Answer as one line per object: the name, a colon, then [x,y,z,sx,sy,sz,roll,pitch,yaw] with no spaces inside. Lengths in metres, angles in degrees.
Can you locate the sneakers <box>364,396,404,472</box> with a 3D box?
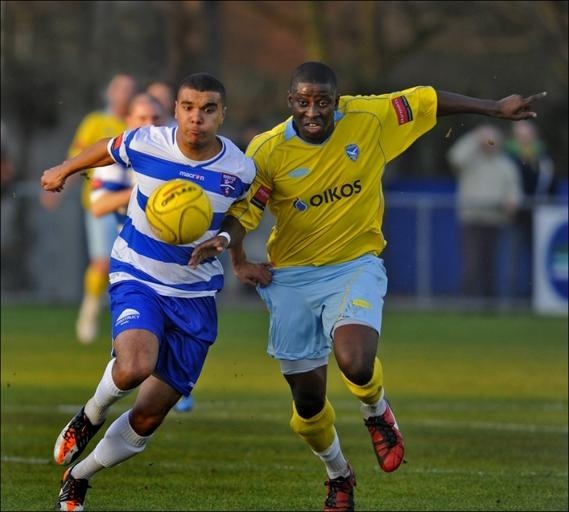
sneakers: [0.748,1.345,8.543,0.182,0.605,0.239,-26,-43,19]

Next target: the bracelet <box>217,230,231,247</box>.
bracelet: [-0.434,-0.115,8.257,0.092,0.107,0.221,-1,7,-1]

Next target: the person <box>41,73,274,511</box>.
person: [-0.932,0.263,8.246,1.439,3.094,0.778,-2,6,-10]
